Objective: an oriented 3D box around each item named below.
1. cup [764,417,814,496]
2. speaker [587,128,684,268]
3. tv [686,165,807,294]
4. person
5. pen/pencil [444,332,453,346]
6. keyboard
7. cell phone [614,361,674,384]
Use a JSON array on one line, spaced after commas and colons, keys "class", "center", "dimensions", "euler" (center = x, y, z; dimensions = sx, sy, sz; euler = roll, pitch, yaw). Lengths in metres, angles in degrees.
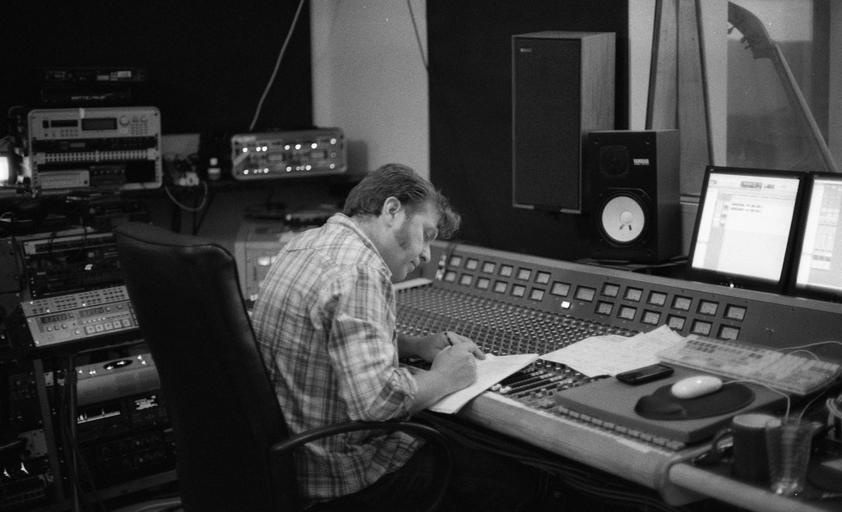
[{"class": "cup", "center": [0.882, 0.479, 1.569], "dimensions": [0.111, 0.161, 0.077], "euler": [2, 11, 15]}, {"class": "speaker", "center": [0.862, -0.236, 2.630], "dimensions": [0.380, 0.512, 0.199], "euler": [2, 11, 16]}, {"class": "tv", "center": [1.157, -0.081, 2.303], "dimensions": [0.429, 0.442, 0.065], "euler": [11, -7, 40]}, {"class": "person", "center": [-0.101, 0.196, 2.663], "dimensions": [1.247, 1.462, 0.750], "euler": [-4, 13, -24]}, {"class": "pen/pencil", "center": [0.094, 0.279, 2.199], "dimensions": [0.017, 0.053, 0.012], "euler": [-14, -15, -18]}, {"class": "keyboard", "center": [0.968, 0.319, 1.948], "dimensions": [0.468, 0.089, 0.192], "euler": [6, 11, 35]}, {"class": "cell phone", "center": [0.661, 0.324, 1.923], "dimensions": [0.135, 0.023, 0.066], "euler": [-12, 13, -28]}]
